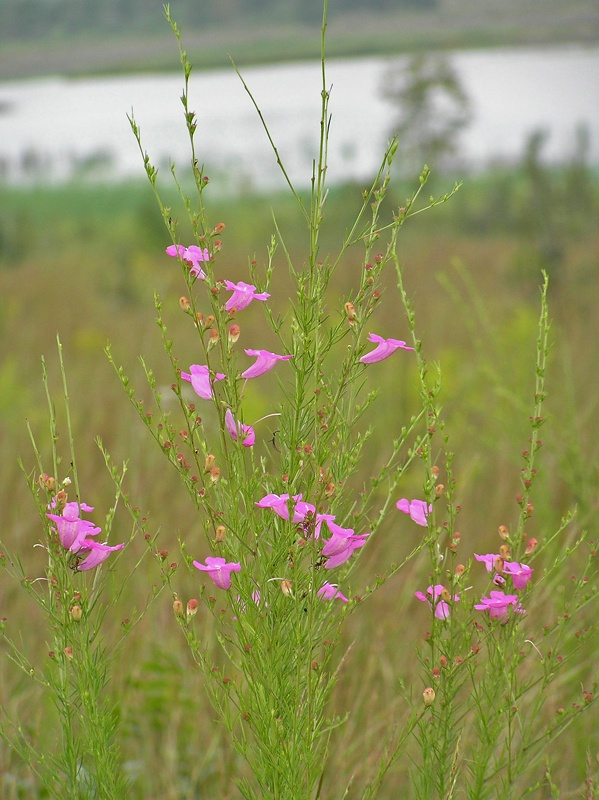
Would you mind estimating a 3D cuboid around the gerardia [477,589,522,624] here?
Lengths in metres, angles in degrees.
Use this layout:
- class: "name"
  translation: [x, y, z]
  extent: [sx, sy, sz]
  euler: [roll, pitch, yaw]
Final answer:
- class: "gerardia"
  translation: [0.386, 0.398, 2.726]
  extent: [0.074, 0.047, 0.084]
  euler: [1, 9, 10]

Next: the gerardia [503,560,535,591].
- class: "gerardia"
  translation: [0.412, 0.328, 2.669]
  extent: [0.049, 0.049, 0.050]
  euler: [1, 6, -5]

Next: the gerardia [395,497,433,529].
- class: "gerardia"
  translation: [0.227, 0.209, 2.730]
  extent: [0.050, 0.026, 0.057]
  euler: [22, -14, 14]

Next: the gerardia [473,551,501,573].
- class: "gerardia"
  translation: [0.360, 0.308, 2.702]
  extent: [0.067, 0.048, 0.076]
  euler: [1, -7, 1]

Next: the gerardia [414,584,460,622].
- class: "gerardia"
  translation: [0.256, 0.383, 2.723]
  extent: [0.068, 0.057, 0.085]
  euler: [10, -15, 18]
